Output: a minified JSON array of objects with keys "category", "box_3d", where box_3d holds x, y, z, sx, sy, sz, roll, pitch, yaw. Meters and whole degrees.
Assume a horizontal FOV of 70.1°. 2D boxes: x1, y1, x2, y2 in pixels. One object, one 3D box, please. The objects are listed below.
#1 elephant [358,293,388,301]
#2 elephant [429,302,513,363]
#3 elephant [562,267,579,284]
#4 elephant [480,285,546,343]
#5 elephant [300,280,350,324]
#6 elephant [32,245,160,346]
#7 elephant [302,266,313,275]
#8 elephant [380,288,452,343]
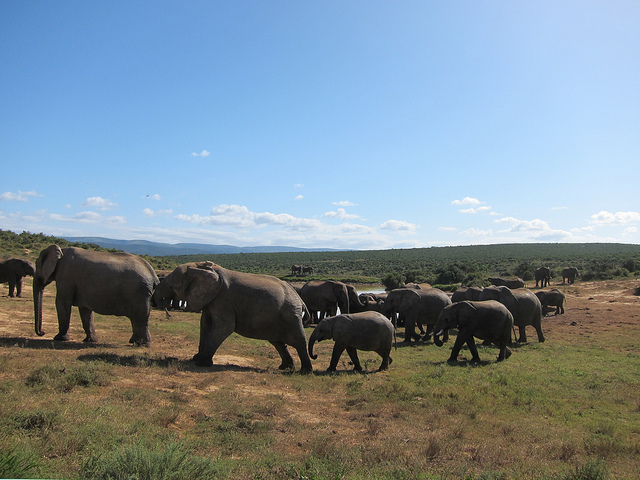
[{"category":"elephant","box_3d":[3.636,3.775,29.545,1.429,0.787,0.675,4,-4,5]},{"category":"elephant","box_3d":[6.485,3.838,19.282,3.519,2.835,1.761,1,2,-5]},{"category":"elephant","box_3d":[30.541,4.345,55.862,1.589,1.979,3.288,3,-2,28]},{"category":"elephant","box_3d":[9.464,3.852,23.134,4.197,2.720,1.922,3,-7,-17]},{"category":"elephant","box_3d":[0.219,3.737,27.817,3.299,2.623,1.493,-4,-4,18]},{"category":"elephant","box_3d":[-8.455,2.066,17.203,4.871,3.696,2.217,3,1,-2]},{"category":"elephant","box_3d":[-1.782,4.726,72.864,0.850,1.408,2.673,4,7,31]},{"category":"elephant","box_3d":[5.205,4.114,24.936,4.580,2.772,1.718,3,-11,-5]}]
